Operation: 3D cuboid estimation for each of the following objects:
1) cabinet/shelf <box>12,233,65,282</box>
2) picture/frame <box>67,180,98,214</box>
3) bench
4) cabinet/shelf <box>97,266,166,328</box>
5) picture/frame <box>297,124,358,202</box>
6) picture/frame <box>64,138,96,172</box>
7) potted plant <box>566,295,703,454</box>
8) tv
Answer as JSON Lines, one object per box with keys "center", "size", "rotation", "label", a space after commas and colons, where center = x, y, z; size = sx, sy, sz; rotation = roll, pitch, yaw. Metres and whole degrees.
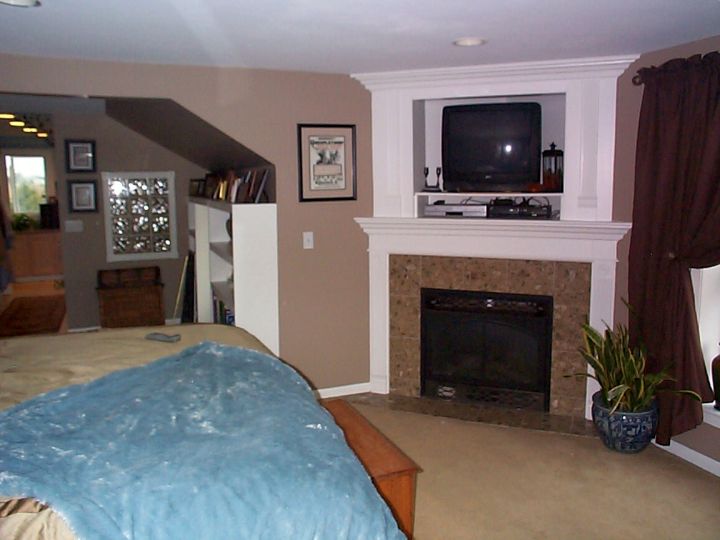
{"center": [-4.731, -0.204, 7.767], "size": [0.292, 0.643, 0.634], "rotation": [10, 12, 44], "label": "cabinet/shelf"}
{"center": [-3.078, -0.815, 5.871], "size": [0.335, 0.441, 0.045], "rotation": [-3, 12, -25], "label": "picture/frame"}
{"center": [0.049, 0.919, 2.448], "size": [0.264, 0.359, 0.697], "rotation": [-3, 13, -21], "label": "bench"}
{"center": [-2.603, 0.320, 5.974], "size": [0.652, 0.654, 0.248], "rotation": [-2, 1, -20], "label": "cabinet/shelf"}
{"center": [-0.274, -0.851, 4.137], "size": [0.574, 0.712, 0.029], "rotation": [-3, 8, -18], "label": "picture/frame"}
{"center": [-3.056, -1.260, 5.776], "size": [0.348, 0.437, 0.033], "rotation": [-3, 11, -26], "label": "picture/frame"}
{"center": [1.778, 0.727, 3.854], "size": [0.710, 0.945, 0.945], "rotation": [-10, 12, -41], "label": "potted plant"}
{"center": [1.049, -0.922, 4.328], "size": [0.998, 0.878, 0.601], "rotation": [2, 9, 22], "label": "tv"}
